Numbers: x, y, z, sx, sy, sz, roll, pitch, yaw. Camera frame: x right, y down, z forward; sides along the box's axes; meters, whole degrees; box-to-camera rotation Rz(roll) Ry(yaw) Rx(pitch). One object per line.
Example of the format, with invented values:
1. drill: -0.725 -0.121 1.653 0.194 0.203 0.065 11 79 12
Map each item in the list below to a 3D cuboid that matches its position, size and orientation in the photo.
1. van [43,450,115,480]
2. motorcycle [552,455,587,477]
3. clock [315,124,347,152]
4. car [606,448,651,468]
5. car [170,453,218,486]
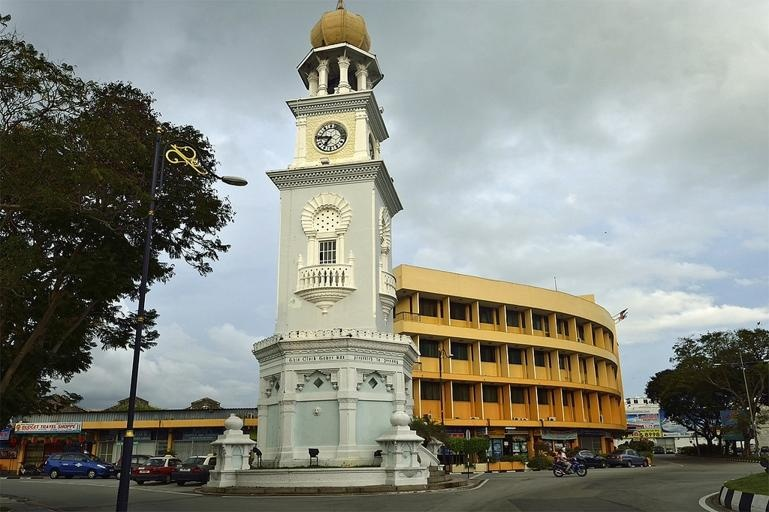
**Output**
1. van: -23.179 15.779 48.147 4.872 1.704 2.096 -1 -17 0
2. motorcycle: 12.552 14.179 42.825 2.455 1.247 1.976 19 -29 -37
3. clock: -3.377 -7.520 40.468 2.053 1.823 0.133 -5 -17 3
4. car: 21.926 18.143 57.286 3.534 1.657 1.668 8 -24 -15
5. car: -12.037 13.948 40.642 2.165 1.427 4.767 0 -9 3
